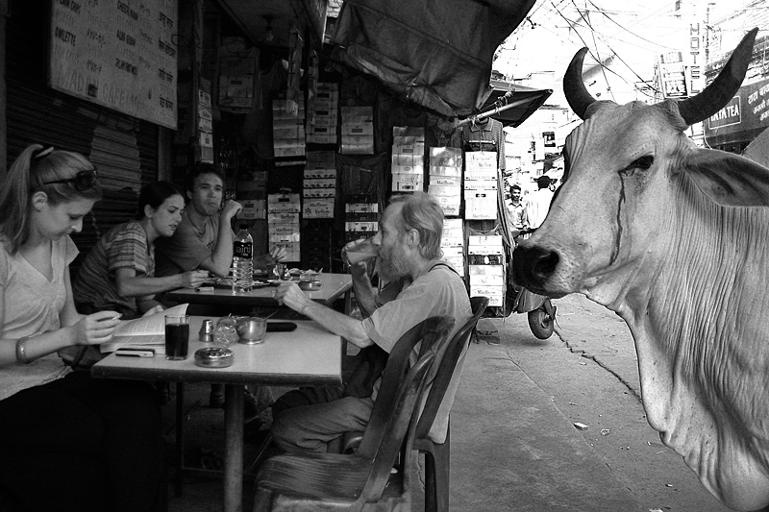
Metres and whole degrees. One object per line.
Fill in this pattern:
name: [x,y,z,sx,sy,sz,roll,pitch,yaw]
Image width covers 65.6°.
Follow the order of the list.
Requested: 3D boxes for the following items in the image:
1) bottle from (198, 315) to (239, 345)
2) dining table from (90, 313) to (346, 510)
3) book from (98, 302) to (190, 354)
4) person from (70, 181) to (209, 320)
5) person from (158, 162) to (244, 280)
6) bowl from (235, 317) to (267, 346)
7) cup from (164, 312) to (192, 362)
bottle: [-0.940,0.429,3.449,0.135,0.095,0.186,2,-2,-1]
dining table: [-0.784,0.954,3.190,1.001,1.041,1.047,3,9,5]
book: [-1.356,0.421,3.393,0.290,0.115,0.300,-12,14,17]
person: [-1.887,-0.017,4.688,0.666,0.512,1.099,-1,-28,-16]
person: [-1.738,-0.317,5.585,0.424,0.565,1.331,2,-22,-14]
bowl: [-0.758,0.439,3.433,0.148,0.120,0.127,0,3,6]
cup: [-1.079,0.439,3.119,0.115,0.187,0.122,2,9,0]
